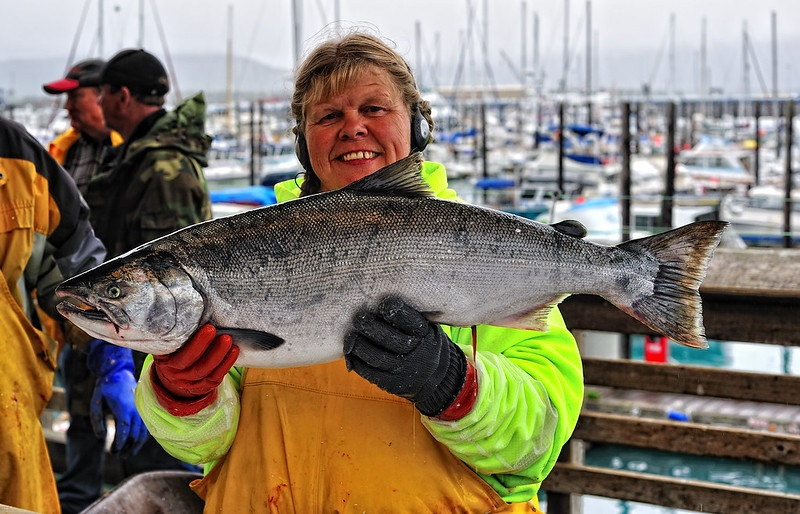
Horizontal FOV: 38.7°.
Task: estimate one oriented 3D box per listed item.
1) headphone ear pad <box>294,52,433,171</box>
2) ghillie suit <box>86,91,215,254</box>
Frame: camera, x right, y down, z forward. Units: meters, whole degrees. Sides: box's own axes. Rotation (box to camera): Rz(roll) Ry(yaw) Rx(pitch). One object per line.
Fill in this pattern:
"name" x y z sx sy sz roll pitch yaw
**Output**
"headphone ear pad" -0.386 -1.043 8.231 0.692 0.930 1.400 1 -3 0
"ghillie suit" -2.088 -0.701 9.459 0.691 1.288 1.309 5 5 -7
